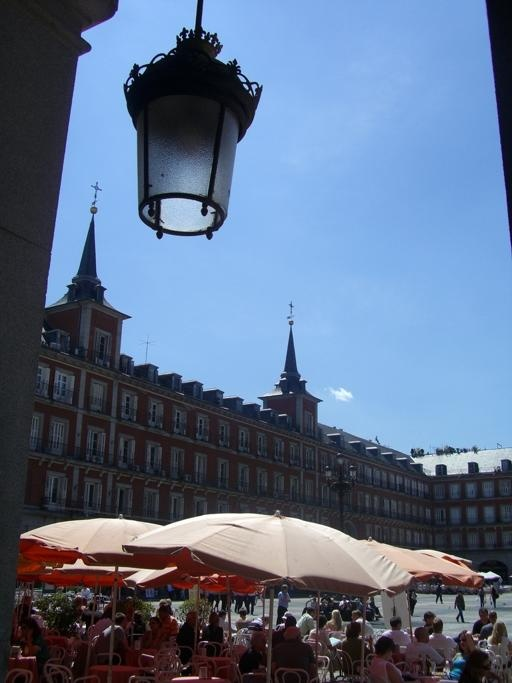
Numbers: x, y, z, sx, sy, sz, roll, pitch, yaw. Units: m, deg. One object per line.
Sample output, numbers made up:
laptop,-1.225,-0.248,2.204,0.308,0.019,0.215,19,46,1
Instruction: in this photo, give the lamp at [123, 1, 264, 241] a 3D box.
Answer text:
lamp,-0.225,-0.722,2.342,0.419,0.794,0.476,9,-17,-28

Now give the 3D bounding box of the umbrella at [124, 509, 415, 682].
umbrella,0.095,2.271,6.296,2.570,1.486,1.876,4,-16,-10
